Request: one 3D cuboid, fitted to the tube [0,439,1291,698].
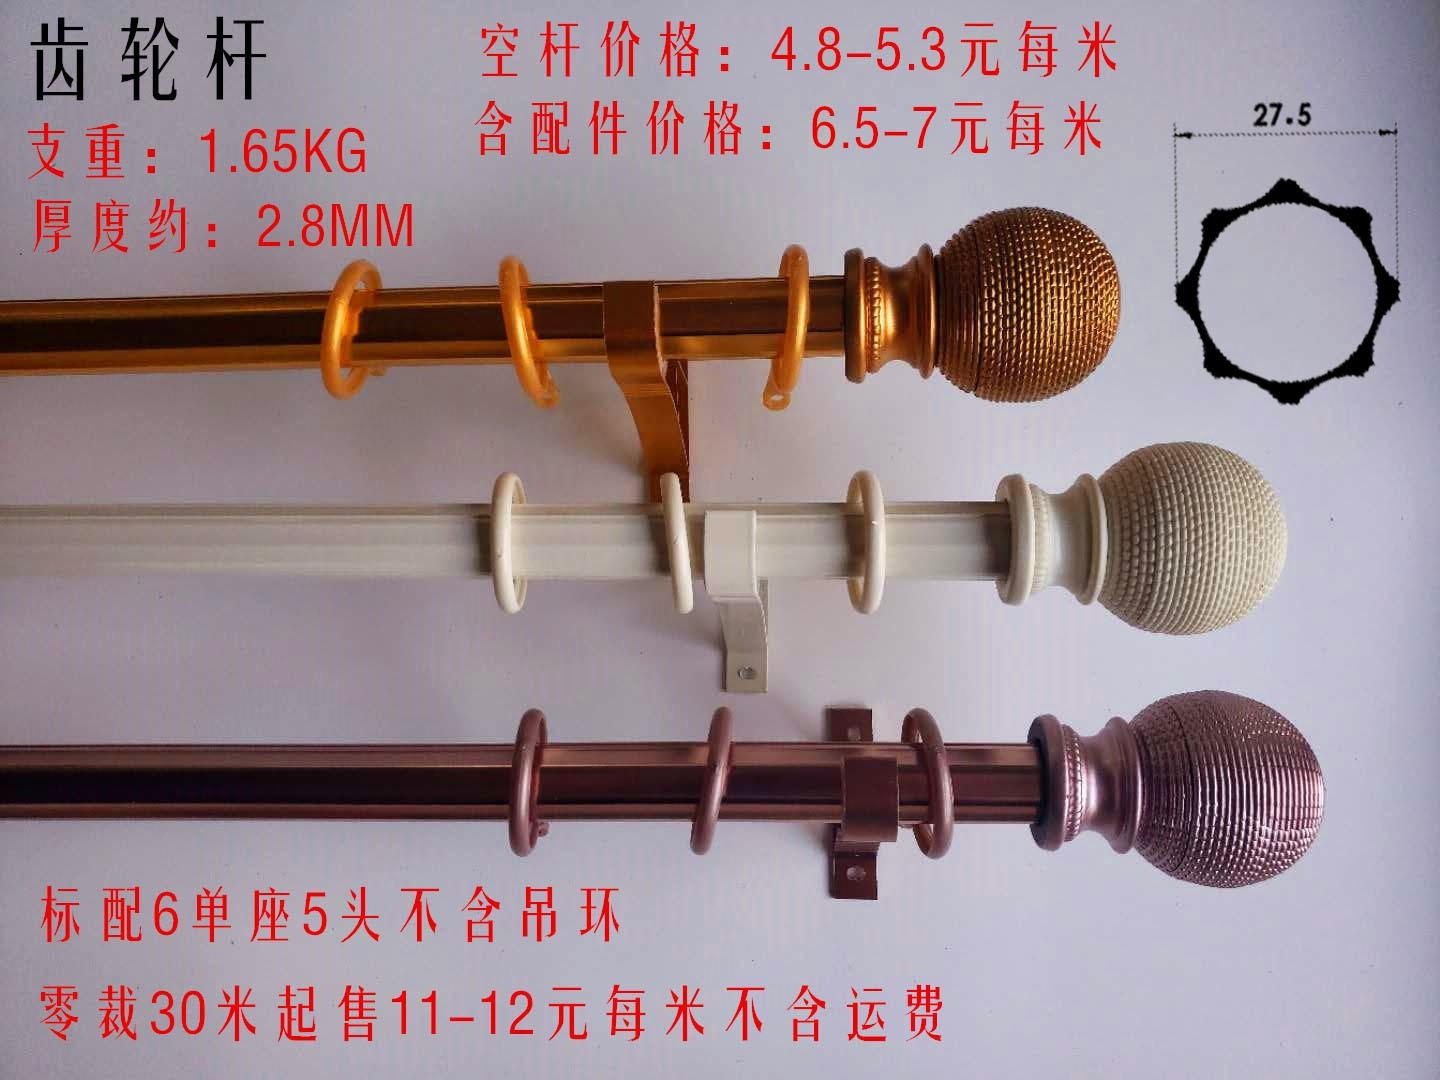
[{"bbox_3d":[-0.023,0.039,2.326,0.986,0.238,0.339,0,-94,2],"label":"tube"}]
